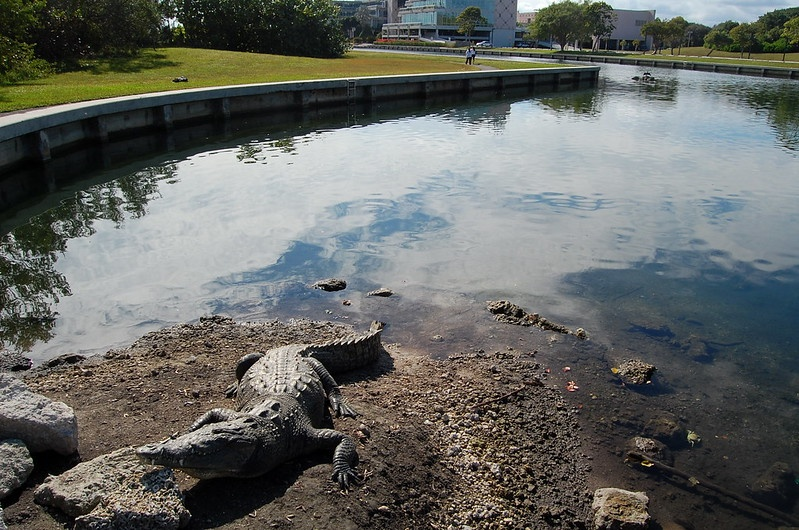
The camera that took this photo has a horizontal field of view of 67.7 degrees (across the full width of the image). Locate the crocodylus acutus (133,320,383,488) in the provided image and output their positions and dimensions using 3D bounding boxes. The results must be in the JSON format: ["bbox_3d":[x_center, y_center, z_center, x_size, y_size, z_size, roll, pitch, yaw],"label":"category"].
[{"bbox_3d":[-1.777,2.193,9.174,2.479,0.891,3.364,6,23,17],"label":"crocodylus acutus"}]
